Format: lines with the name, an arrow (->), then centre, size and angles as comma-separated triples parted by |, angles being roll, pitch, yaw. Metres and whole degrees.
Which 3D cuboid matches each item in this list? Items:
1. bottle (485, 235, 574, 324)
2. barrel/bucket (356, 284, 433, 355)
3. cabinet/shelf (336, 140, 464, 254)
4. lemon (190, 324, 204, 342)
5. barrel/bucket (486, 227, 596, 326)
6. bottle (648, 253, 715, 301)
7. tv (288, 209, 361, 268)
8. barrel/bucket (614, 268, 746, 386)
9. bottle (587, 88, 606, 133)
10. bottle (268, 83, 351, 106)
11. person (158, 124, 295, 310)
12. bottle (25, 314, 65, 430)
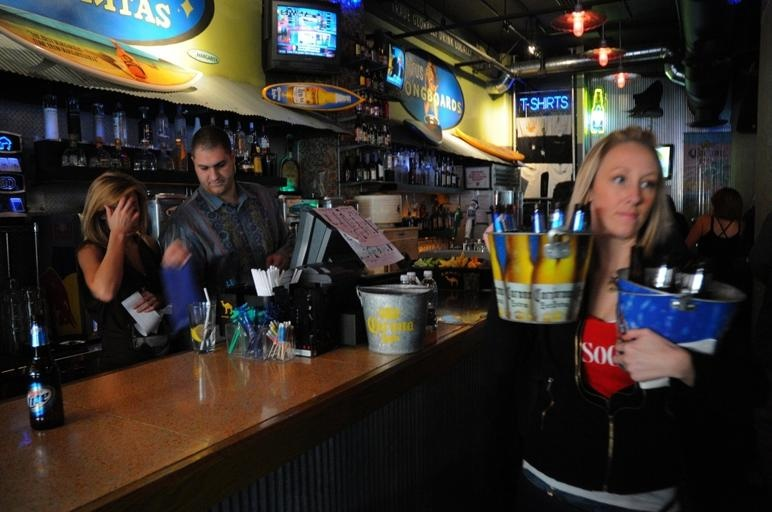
bottle -> 0.348, 0.054, 1.426 | 0.199, 0.163, 0.214 | -1, 1, 0
barrel/bucket -> 0.029, 0.237, 2.210 | 0.257, 0.212, 0.276 | -1, -2, 0
cabinet/shelf -> 0.165, -0.718, 6.536 | 0.588, 1.627, 1.783 | -1, 0, 31
lemon -> -0.765, 0.311, 2.321 | 0.065, 0.063, 0.064 | 1, -7, 3
barrel/bucket -> 0.351, 0.044, 1.379 | 0.233, 0.174, 0.217 | 0, 1, 0
bottle -> 0.708, 0.051, 1.386 | 0.101, 0.111, 0.129 | 10, 15, -13
tv -> -0.264, -0.076, 2.471 | 0.297, 0.253, 0.113 | -3, 7, -5
barrel/bucket -> 0.659, 0.158, 1.299 | 0.207, 0.171, 0.207 | 5, 4, 0
bottle -> 4.298, -2.949, 11.621 | 0.480, 0.972, 0.245 | -3, 7, -9
bottle -> -0.721, -1.516, 5.452 | 0.164, 0.238, 1.009 | 12, 15, 43
person -> -1.129, -0.310, 3.667 | 0.457, 1.007, 1.052 | 2, 8, 30
bottle -> -1.071, 0.361, 1.778 | 0.094, 0.337, 0.116 | -7, 8, -32
